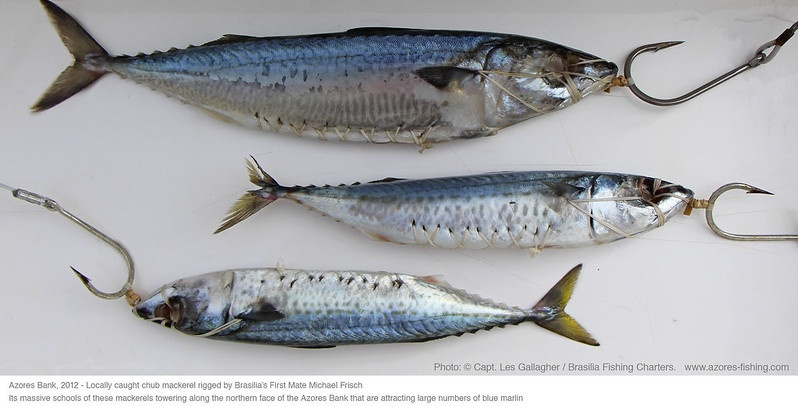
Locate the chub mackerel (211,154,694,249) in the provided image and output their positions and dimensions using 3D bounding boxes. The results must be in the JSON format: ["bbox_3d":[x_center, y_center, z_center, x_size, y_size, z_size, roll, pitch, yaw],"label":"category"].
[{"bbox_3d":[0.493,0.053,7.064,3.847,0.827,0.756,1,-14,6],"label":"chub mackerel"}]

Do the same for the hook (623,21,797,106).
[{"bbox_3d":[2.632,-1.145,7.079,1.535,0.483,0.311,-10,28,1],"label":"hook"}]

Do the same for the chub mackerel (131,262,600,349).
[{"bbox_3d":[-0.425,0.864,7.091,2.546,0.470,0.760,1,57,1],"label":"chub mackerel"}]
